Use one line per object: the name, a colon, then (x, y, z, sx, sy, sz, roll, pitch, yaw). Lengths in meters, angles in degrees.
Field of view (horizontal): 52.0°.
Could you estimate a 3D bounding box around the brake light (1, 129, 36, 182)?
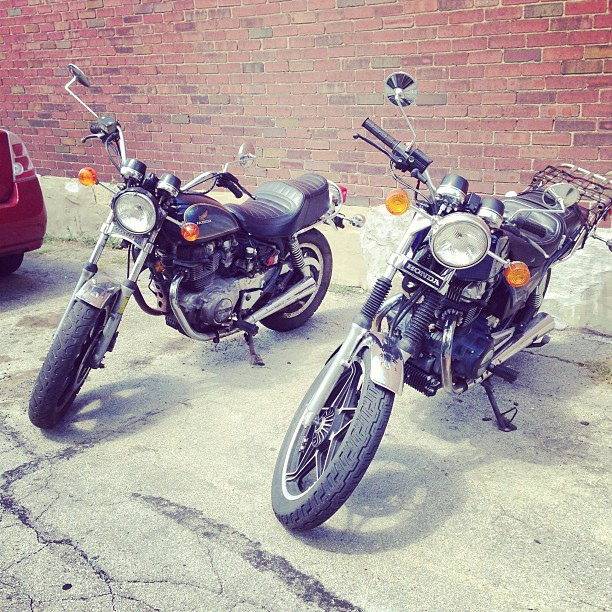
brake light: (-2.395, -1.245, 5.245, 0.310, 0.409, 0.143, -24, 11, -38)
